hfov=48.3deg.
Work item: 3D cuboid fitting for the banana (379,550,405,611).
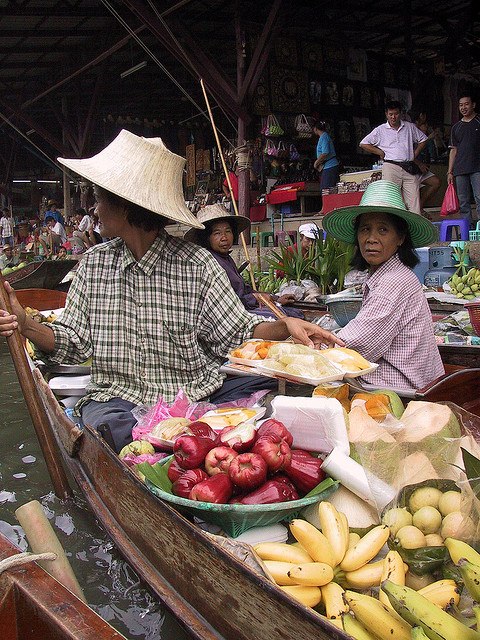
[{"bbox_3d":[0.265,0.434,0.930,0.039,0.037,0.115,11,45,4],"label":"banana"}]

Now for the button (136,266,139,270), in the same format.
[{"bbox_3d":[-0.403,-0.204,2.091,0.016,0.013,0.004,5,3,11],"label":"button"}]

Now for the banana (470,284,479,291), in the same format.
[{"bbox_3d":[1.514,-0.207,3.418,0.046,0.041,0.031,-1,6,25],"label":"banana"}]

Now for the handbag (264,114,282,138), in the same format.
[{"bbox_3d":[0.549,-3.629,10.179,0.166,0.391,0.414,14,25,40],"label":"handbag"}]

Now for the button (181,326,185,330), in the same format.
[{"bbox_3d":[-0.226,0.031,2.114,0.012,0.010,0.011,-4,-8,37],"label":"button"}]

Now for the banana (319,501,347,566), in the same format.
[{"bbox_3d":[0.174,0.418,1.049,0.029,0.034,0.102,-35,30,13],"label":"banana"}]

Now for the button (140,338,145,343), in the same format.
[{"bbox_3d":[-0.386,0.079,2.110,0.018,0.015,0.004,1,-2,2],"label":"button"}]

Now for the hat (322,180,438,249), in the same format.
[{"bbox_3d":[0.610,-0.463,2.403,0.463,0.188,0.410,10,-18,-10],"label":"hat"}]

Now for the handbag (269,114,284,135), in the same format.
[{"bbox_3d":[0.709,-3.676,10.163,0.271,0.358,0.168,1,12,27],"label":"handbag"}]

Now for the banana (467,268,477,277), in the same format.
[{"bbox_3d":[1.525,-0.314,3.482,0.042,0.022,0.074,19,46,33],"label":"banana"}]

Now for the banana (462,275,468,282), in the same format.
[{"bbox_3d":[1.475,-0.269,3.486,0.034,0.038,0.033,24,-7,28],"label":"banana"}]

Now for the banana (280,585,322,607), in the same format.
[{"bbox_3d":[0.110,0.484,0.969,0.067,0.031,0.042,15,-8,-10],"label":"banana"}]

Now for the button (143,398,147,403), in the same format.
[{"bbox_3d":[-0.368,0.311,2.069,0.015,0.011,0.011,-4,5,-10],"label":"button"}]

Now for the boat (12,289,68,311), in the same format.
[{"bbox_3d":[-1.730,-0.173,4.611,0.322,0.136,0.410,0,-2,-3],"label":"boat"}]

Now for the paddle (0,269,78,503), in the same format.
[{"bbox_3d":[-0.913,0.313,2.394,0.131,1.198,0.071,-22,-4,23],"label":"paddle"}]

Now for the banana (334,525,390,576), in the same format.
[{"bbox_3d":[0.226,0.457,1.038,0.049,0.130,0.037,30,34,-11],"label":"banana"}]

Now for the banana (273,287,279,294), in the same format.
[{"bbox_3d":[0.359,-0.291,5.243,0.057,0.051,0.090,-3,5,2],"label":"banana"}]

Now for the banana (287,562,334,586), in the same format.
[{"bbox_3d":[0.127,0.438,0.933,0.078,0.033,0.026,4,-1,-19],"label":"banana"}]

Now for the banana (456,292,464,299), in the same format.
[{"bbox_3d":[1.420,-0.154,3.413,0.030,0.027,0.037,-1,5,-4],"label":"banana"}]

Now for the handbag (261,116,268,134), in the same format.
[{"bbox_3d":[0.476,-3.700,10.238,0.069,0.237,0.184,-7,10,-41],"label":"handbag"}]

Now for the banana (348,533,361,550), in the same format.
[{"bbox_3d":[0.234,0.446,1.095,0.023,0.016,0.030,1,-30,-6],"label":"banana"}]

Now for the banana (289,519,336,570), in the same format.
[{"bbox_3d":[0.138,0.421,1.003,0.037,0.028,0.106,1,38,-51],"label":"banana"}]

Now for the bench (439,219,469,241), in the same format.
[{"bbox_3d":[2.306,-0.987,5.768,0.359,0.286,0.351,1,4,26],"label":"bench"}]

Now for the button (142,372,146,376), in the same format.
[{"bbox_3d":[-0.382,0.213,2.122,0.013,0.013,0.002,-4,6,-12],"label":"button"}]

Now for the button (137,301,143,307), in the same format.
[{"bbox_3d":[-0.394,-0.064,2.102,0.021,0.019,0.006,1,-8,2],"label":"button"}]

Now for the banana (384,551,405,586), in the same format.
[{"bbox_3d":[0.269,0.428,0.923,0.029,0.026,0.082,7,8,14],"label":"banana"}]

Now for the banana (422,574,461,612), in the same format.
[{"bbox_3d":[0.332,0.439,0.878,0.035,0.030,0.068,-29,-4,0],"label":"banana"}]

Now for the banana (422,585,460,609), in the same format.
[{"bbox_3d":[0.330,0.443,0.865,0.029,0.023,0.058,-10,-2,-27],"label":"banana"}]

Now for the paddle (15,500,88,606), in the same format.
[{"bbox_3d":[-0.400,0.516,1.140,0.110,0.215,0.218,-7,6,-27],"label":"paddle"}]

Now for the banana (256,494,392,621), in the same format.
[{"bbox_3d":[0.183,0.441,1.009,0.185,0.065,0.170,-14,16,-21],"label":"banana"}]
